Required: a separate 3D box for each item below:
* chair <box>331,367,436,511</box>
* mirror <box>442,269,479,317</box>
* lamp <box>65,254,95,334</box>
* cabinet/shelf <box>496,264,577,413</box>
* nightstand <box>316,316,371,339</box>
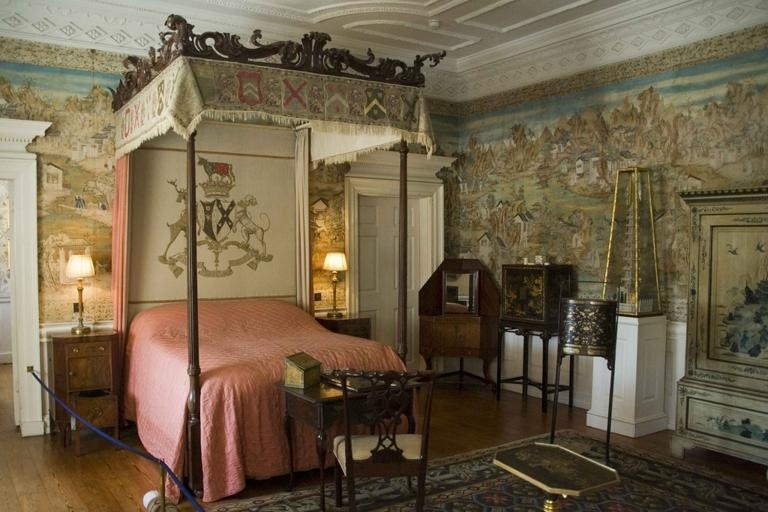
[{"bbox_3d":[-0.021,1.833,6.319,1.037,1.518,1.386,-2,1,-2],"label":"chair"},{"bbox_3d":[1.325,0.652,10.184,0.820,0.925,0.099,0,-12,9],"label":"mirror"},{"bbox_3d":[-4.032,0.495,7.997,0.343,0.688,0.415,-2,1,-26],"label":"lamp"},{"bbox_3d":[2.281,1.186,9.200,1.175,2.142,0.690,-1,2,37],"label":"cabinet/shelf"},{"bbox_3d":[-0.608,1.005,9.366,0.477,0.441,0.472,-1,2,-40],"label":"nightstand"}]
